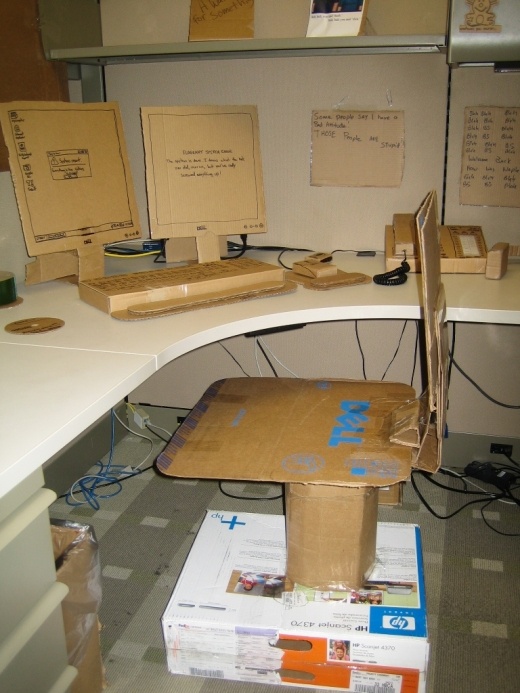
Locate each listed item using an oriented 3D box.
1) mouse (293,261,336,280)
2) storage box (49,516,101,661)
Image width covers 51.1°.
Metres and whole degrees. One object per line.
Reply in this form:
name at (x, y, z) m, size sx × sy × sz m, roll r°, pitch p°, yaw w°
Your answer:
mouse at (0.145, -0.201, 1.420) m, size 0.057 × 0.024 × 0.103 m, roll -10°, pitch 23°, yaw -24°
storage box at (-0.330, 0.451, 1.003) m, size 0.076 × 0.234 × 0.154 m, roll -10°, pitch 19°, yaw -18°
